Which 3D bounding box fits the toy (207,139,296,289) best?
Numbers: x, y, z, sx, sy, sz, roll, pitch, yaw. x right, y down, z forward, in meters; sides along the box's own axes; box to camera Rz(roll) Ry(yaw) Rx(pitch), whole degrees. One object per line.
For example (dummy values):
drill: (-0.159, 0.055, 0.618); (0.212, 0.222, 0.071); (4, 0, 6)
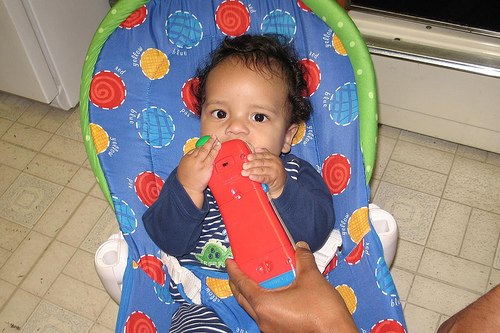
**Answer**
toy: (0.008, 0.138, 1.290); (0.193, 0.109, 0.465); (-26, 76, 10)
